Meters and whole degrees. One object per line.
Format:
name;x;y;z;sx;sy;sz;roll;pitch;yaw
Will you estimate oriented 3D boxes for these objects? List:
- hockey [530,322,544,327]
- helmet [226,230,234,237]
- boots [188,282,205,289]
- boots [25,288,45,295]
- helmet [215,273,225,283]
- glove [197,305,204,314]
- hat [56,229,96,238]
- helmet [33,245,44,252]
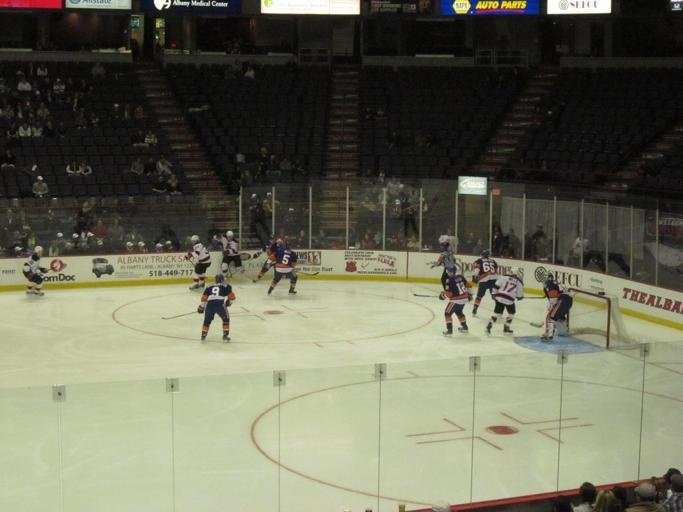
hockey;4.805;1.699;23.987;0.249;0.081;0.184;5;8;6
helmet;-3.283;-0.667;29.055;0.169;0.237;0.183;3;7;-11
boots;-4.238;0.823;28.661;0.414;0.215;0.504;-3;13;-8
boots;-8.547;0.960;27.217;0.476;0.223;0.370;-4;13;-11
helmet;-2.978;0.523;24.031;0.177;0.239;0.239;5;21;15
glove;-3.525;1.312;24.517;0.195;0.135;0.262;0;20;-4
hat;-7.663;-0.640;28.215;1.041;0.245;0.062;-6;13;-19
helmet;-8.522;-0.175;27.493;0.227;0.227;0.175;9;28;15
